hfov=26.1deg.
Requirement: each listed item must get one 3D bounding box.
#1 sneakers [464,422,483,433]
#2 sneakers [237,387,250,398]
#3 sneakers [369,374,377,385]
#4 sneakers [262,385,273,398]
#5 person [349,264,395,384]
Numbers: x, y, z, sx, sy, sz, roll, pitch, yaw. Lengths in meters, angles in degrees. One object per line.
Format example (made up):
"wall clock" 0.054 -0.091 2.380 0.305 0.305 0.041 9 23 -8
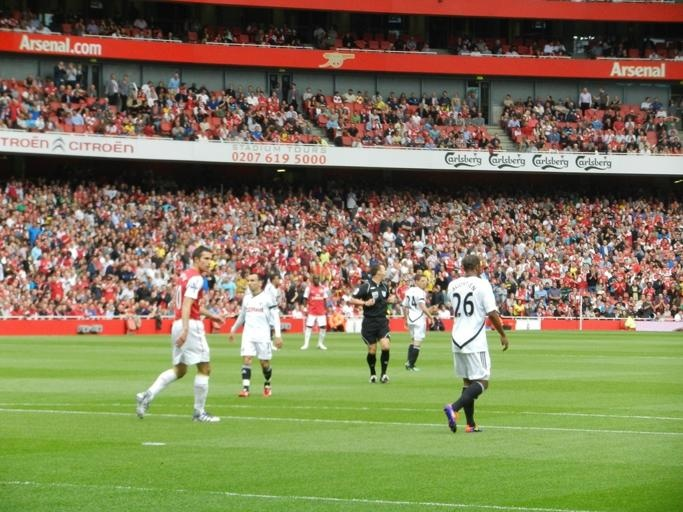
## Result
"sneakers" 3.315 4.368 36.820 0.437 0.218 0.169 0 0 -11
"sneakers" -2.646 3.747 40.294 0.275 0.298 0.580 0 11 -3
"sneakers" 0.926 3.609 42.313 0.196 0.225 0.152 -1 1 4
"sneakers" -2.028 3.790 40.500 0.218 0.327 0.695 -1 -6 -5
"person" 0.909 1.989 42.734 1.006 3.494 1.525 1 10 1
